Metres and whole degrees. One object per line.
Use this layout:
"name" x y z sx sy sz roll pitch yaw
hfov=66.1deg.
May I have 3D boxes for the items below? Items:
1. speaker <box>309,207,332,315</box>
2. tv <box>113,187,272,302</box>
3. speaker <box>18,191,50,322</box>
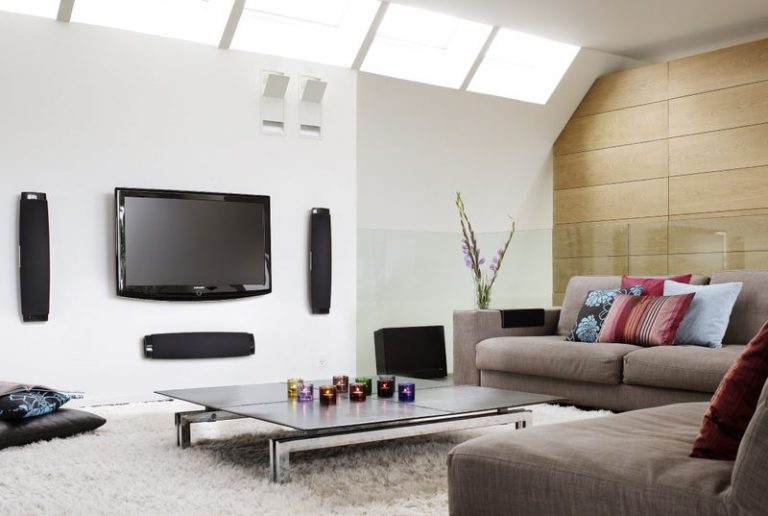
"speaker" -0.646 0.039 5.935 0.217 1.073 0.140 -1 4 -9
"tv" -1.821 -0.117 5.401 1.188 0.790 0.110 2 -3 -29
"speaker" -2.890 0.004 4.862 0.216 1.074 0.101 -2 4 -26
